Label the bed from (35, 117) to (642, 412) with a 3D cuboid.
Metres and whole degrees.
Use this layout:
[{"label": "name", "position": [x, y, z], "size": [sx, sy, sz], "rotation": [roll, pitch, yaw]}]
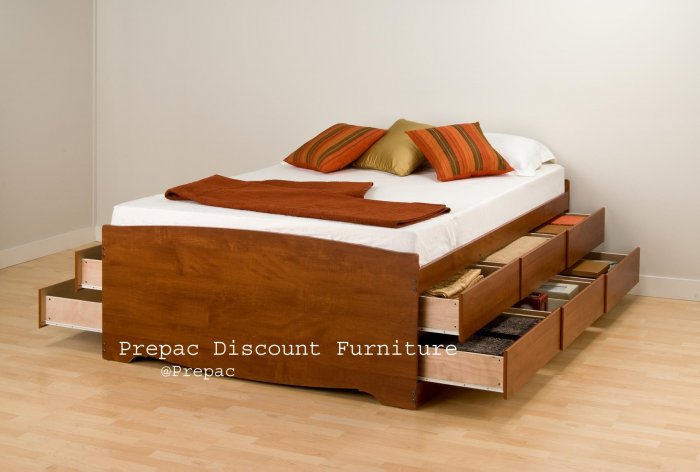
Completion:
[{"label": "bed", "position": [0.323, 0.173, 3.270], "size": [2.242, 0.557, 1.892], "rotation": [4, 8, 27]}]
